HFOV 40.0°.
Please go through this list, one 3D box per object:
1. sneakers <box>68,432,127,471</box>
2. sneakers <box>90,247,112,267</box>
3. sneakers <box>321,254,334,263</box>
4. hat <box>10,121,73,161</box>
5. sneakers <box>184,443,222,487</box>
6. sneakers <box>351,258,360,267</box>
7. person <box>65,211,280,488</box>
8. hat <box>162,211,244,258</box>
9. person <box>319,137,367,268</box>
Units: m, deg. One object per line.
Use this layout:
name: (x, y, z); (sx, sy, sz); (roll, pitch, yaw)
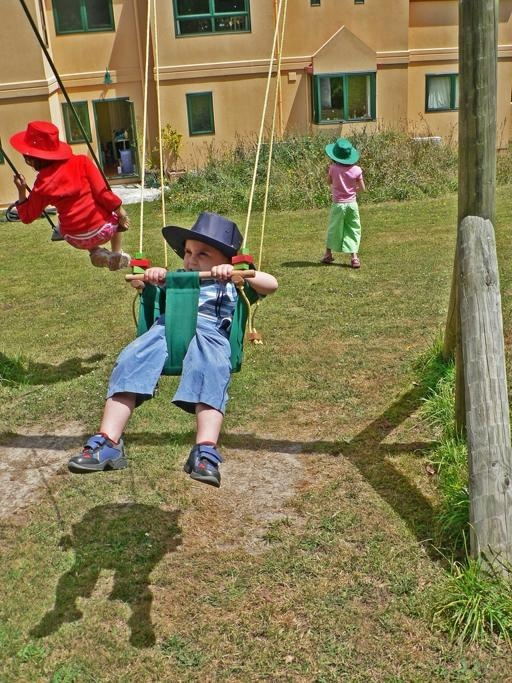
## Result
sneakers: (-0.656, 0.475, 2.974); (0.105, 0.135, 0.298); (-4, -11, 23)
sneakers: (-1.296, -0.694, 5.903); (0.132, 0.112, 0.222); (4, 4, -5)
sneakers: (0.901, -1.026, 8.841); (0.082, 0.104, 0.157); (2, 19, -1)
hat: (-1.654, -1.448, 5.408); (0.391, 0.142, 0.365); (21, 42, -6)
sneakers: (-0.207, 0.489, 2.836); (0.086, 0.107, 0.248); (24, -11, -15)
sneakers: (1.223, -0.950, 8.620); (0.114, 0.125, 0.288); (1, 10, 8)
person: (-0.295, 0.063, 3.526); (0.778, 0.637, 1.584); (8, 43, 4)
hat: (-0.239, -0.565, 3.780); (0.308, 0.116, 0.344); (15, -15, 18)
person: (1.078, -1.723, 8.791); (0.512, 1.530, 0.635); (1, 11, 6)
